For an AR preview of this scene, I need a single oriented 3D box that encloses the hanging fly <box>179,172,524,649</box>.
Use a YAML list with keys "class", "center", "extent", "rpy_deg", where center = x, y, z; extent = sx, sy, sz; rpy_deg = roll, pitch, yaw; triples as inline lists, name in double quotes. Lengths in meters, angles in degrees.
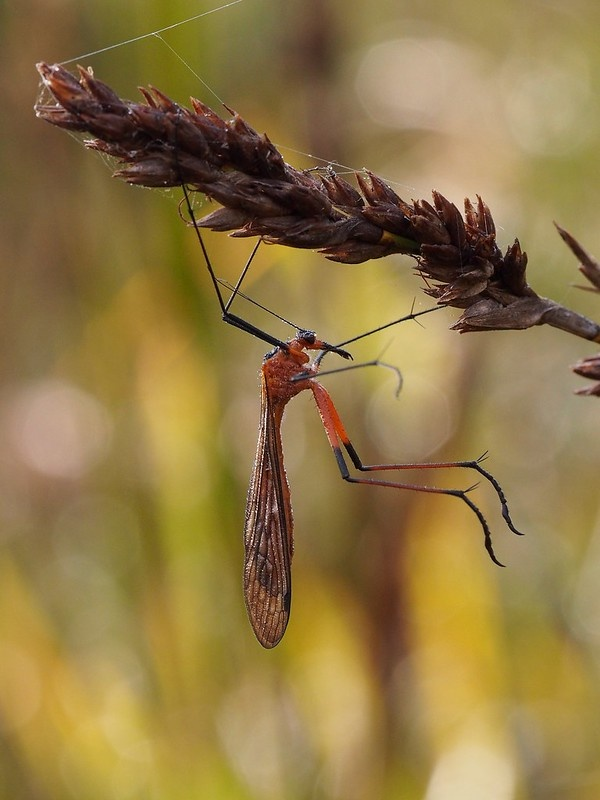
- class: "hanging fly"
  center: [0.053, 0.054, 2.125]
  extent: [0.748, 0.768, 0.908]
  rpy_deg: [-26, -95, 10]
